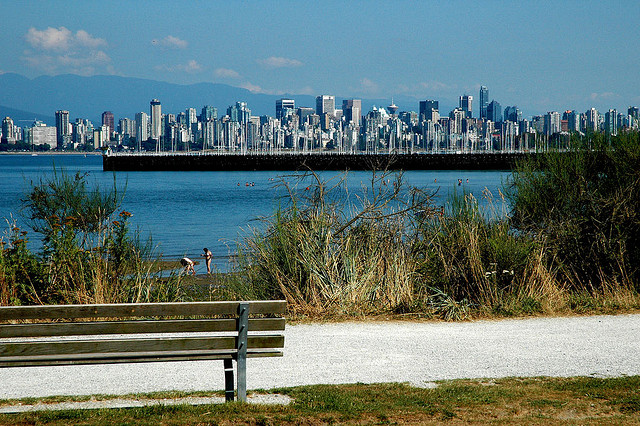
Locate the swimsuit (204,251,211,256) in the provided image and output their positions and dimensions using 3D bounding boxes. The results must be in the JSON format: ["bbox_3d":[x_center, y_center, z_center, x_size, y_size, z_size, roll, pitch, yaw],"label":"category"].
[{"bbox_3d":[-3.424,1.263,37.324,0.123,0.171,0.060,0,-7,1],"label":"swimsuit"}]
